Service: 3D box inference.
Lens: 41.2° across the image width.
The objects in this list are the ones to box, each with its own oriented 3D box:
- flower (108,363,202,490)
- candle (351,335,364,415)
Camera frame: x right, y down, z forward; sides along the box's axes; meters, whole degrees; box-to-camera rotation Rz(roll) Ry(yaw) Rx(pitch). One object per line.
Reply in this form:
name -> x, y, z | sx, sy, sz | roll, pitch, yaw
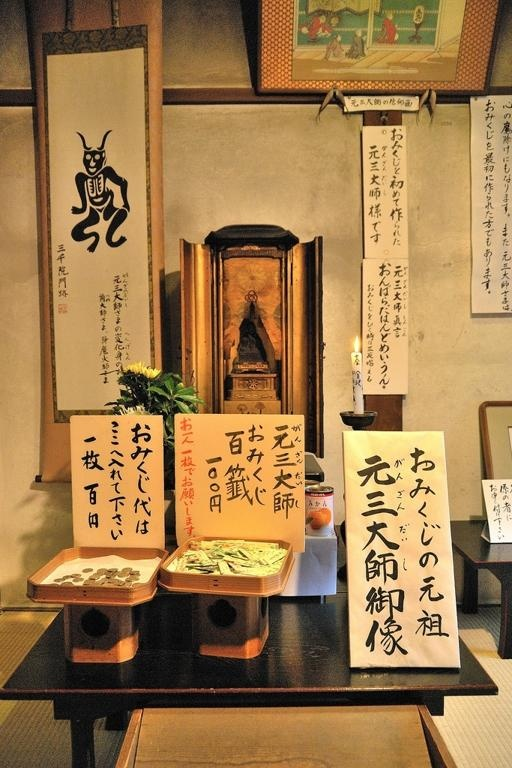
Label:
flower -> -0.329, 0.096, 2.112 | 0.203, 0.309, 0.217 | 2, -3, 45
candle -> 0.278, -0.019, 1.853 | 0.033, 0.205, 0.034 | 1, -3, -3
